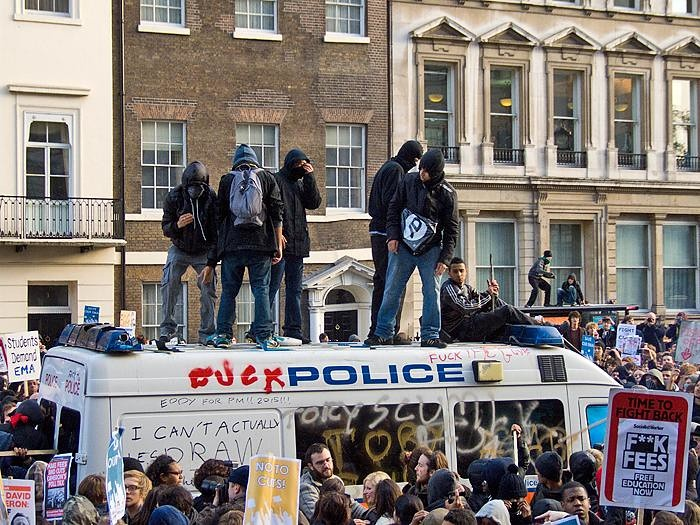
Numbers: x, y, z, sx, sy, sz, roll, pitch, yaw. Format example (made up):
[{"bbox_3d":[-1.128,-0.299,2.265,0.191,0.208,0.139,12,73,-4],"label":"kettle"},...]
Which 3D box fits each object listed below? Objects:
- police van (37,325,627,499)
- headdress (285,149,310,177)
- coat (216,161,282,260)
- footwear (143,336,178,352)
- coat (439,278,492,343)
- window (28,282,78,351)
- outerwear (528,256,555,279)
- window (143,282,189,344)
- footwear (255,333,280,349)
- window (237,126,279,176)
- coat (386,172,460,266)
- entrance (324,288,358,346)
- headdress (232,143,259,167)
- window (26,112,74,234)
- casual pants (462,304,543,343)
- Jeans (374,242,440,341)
[{"bbox_3d":[0.287,3.040,31.152,10.269,3.795,3.486,0,-9,-17],"label":"police van"},{"bbox_3d":[-1.022,-1.777,32.434,0.376,0.536,0.492,1,-5,-26],"label":"headdress"},{"bbox_3d":[-1.726,-0.833,31.249,1.193,1.668,0.844,-4,-8,1],"label":"coat"},{"bbox_3d":[-3.214,1.416,31.635,0.610,0.186,0.666,-2,2,-21],"label":"footwear"},{"bbox_3d":[2.009,0.796,31.693,0.925,1.054,0.881,-5,8,-21],"label":"coat"},{"bbox_3d":[-6.759,1.227,41.752,1.542,1.884,0.087,-1,2,-18],"label":"window"},{"bbox_3d":[4.868,0.101,46.735,0.574,0.570,0.483,2,7,-8],"label":"outerwear"},{"bbox_3d":[-4.582,1.416,45.421,1.179,2.273,0.283,-2,28,-5],"label":"window"},{"bbox_3d":[-1.364,1.338,30.640,0.478,0.219,0.169,-2,-1,19],"label":"footwear"},{"bbox_3d":[-2.349,-3.036,46.270,1.157,1.421,0.095,2,32,0],"label":"window"},{"bbox_3d":[1.234,-0.750,31.582,1.197,1.457,0.828,15,11,11],"label":"coat"},{"bbox_3d":[-0.242,1.330,45.102,1.264,1.794,0.182,-1,5,-25],"label":"entrance"},{"bbox_3d":[-1.772,-1.862,31.398,0.424,0.449,0.672,0,-14,0],"label":"headdress"},{"bbox_3d":[-7.329,-2.135,44.861,1.179,3.153,0.187,1,-18,-15],"label":"window"},{"bbox_3d":[2.384,1.068,31.254,1.031,0.412,0.594,-16,0,11],"label":"casual pants"},{"bbox_3d":[1.057,0.547,31.663,1.127,0.574,2.604,-4,38,7],"label":"Jeans"}]
